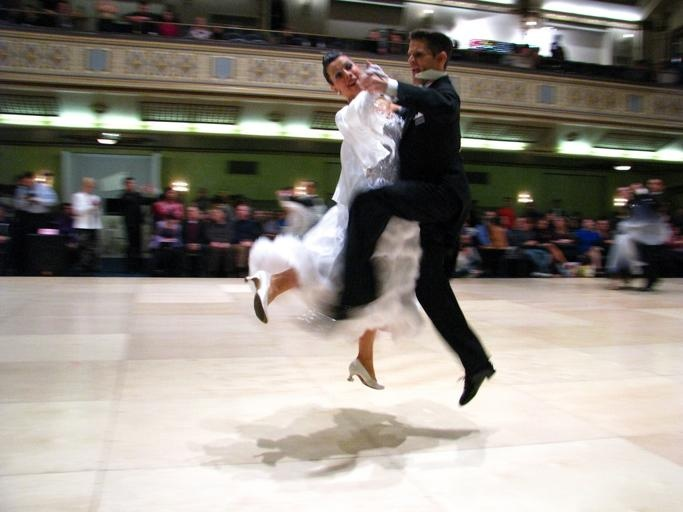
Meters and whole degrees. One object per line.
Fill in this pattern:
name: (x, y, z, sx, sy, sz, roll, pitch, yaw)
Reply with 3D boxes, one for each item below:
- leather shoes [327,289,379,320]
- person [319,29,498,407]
leather shoes: (0.036, 0.256, 3.060, 0.226, 0.060, 0.144, -22, -11, 1)
person: (0.447, -0.100, 3.151, 0.826, 1.724, 0.542, 6, 15, 10)
